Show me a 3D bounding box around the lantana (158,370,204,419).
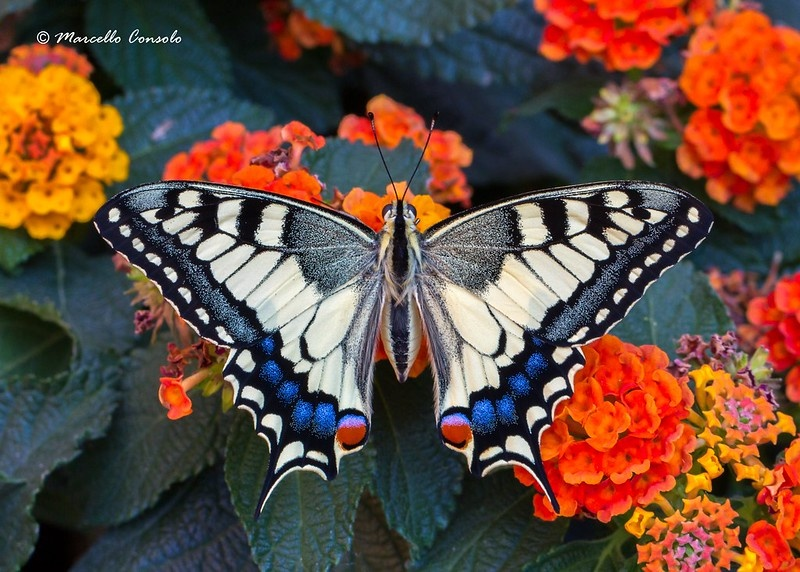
[{"bbox_3d":[-0.555,0.280,2.283,0.117,0.100,0.096,-1,-66,2],"label":"lantana"}]
